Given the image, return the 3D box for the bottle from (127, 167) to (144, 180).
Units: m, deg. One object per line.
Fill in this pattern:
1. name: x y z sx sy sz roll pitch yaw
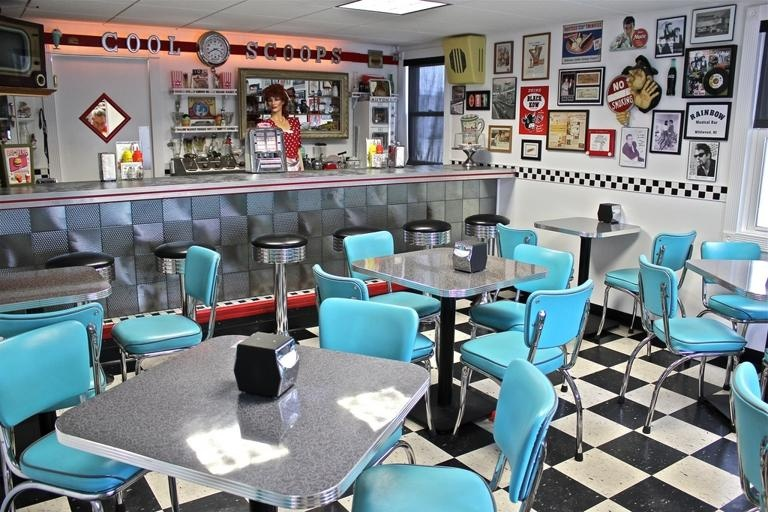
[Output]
1. bottle: -2.688 -0.903 5.592 0.097 0.169 0.171 2 3 14

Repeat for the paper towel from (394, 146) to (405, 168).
1. paper towel: 0.195 -1.316 6.827 0.048 0.276 0.158 9 17 39

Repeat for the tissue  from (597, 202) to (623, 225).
1. tissue : 2.589 -0.485 5.889 0.235 0.230 0.244 -3 7 -28

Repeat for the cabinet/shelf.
1. cabinet/shelf: -2.649 -2.130 7.628 0.987 0.656 0.318 -7 14 -21

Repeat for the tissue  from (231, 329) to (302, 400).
1. tissue : -0.560 0.522 2.569 0.283 0.287 0.303 4 9 22

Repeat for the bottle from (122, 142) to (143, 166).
1. bottle: -2.761 -1.143 5.649 0.161 0.252 0.233 19 22 39

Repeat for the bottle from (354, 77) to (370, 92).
1. bottle: -0.355 -2.878 8.641 0.219 0.265 0.138 0 14 11

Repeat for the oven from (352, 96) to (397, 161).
1. oven: -0.141 -2.170 9.126 0.881 0.809 1.466 0 39 13

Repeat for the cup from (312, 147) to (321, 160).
1. cup: -1.113 -1.740 8.625 0.126 0.197 0.154 1 14 16

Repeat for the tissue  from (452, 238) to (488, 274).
1. tissue : 0.668 0.005 4.041 0.256 0.251 0.242 -1 4 -36

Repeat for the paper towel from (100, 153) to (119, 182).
1. paper towel: -2.906 -0.938 5.439 0.167 0.284 0.095 -10 15 -28

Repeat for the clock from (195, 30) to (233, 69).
1. clock: -2.492 -3.014 7.473 0.403 0.431 0.135 -29 26 -29

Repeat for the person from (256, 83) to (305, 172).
1. person: -1.354 -1.666 6.706 0.482 1.112 1.019 -4 13 -5

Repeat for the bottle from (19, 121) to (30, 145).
1. bottle: -4.712 -1.640 6.795 0.160 0.262 0.057 -14 18 -42

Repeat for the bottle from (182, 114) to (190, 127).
1. bottle: -2.876 -1.975 7.496 0.131 0.188 0.163 -7 14 -20

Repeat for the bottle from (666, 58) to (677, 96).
1. bottle: 3.020 -1.888 5.433 0.082 0.376 0.077 -2 13 1

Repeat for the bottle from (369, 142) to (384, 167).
1. bottle: -0.109 -1.354 6.856 0.117 0.345 0.223 9 17 39

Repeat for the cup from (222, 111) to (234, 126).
1. cup: -2.365 -2.065 7.832 0.204 0.209 0.211 1 6 0
